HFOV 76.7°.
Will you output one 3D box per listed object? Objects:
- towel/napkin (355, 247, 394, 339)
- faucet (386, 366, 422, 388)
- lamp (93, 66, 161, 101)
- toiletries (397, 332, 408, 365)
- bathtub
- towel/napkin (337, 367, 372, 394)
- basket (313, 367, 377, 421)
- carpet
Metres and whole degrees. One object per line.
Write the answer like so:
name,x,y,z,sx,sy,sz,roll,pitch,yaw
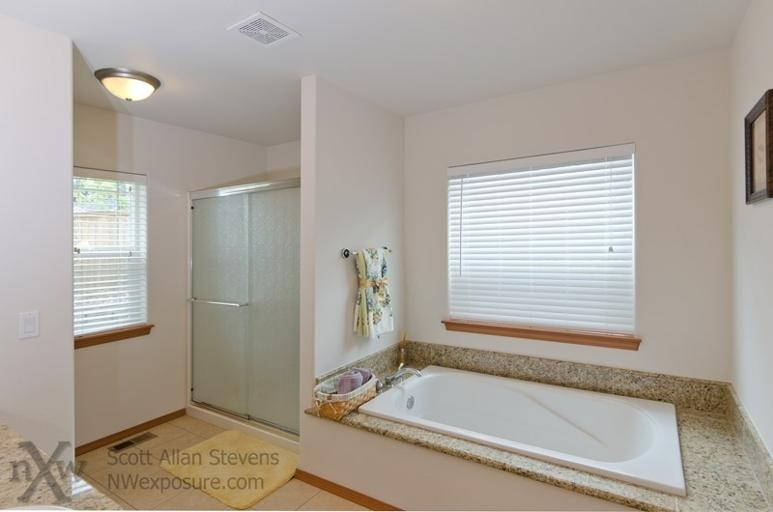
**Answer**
towel/napkin,-0.103,0.299,4.122,0.171,0.718,0.388,0,3,41
faucet,0.129,1.026,4.144,0.368,0.137,0.123,-2,-5,33
lamp,-1.947,-1.305,3.713,0.448,0.142,0.256,-3,2,-32
toiletries,0.152,0.858,4.517,0.070,0.288,0.115,-2,2,11
bathtub,1.074,1.269,3.581,1.885,0.508,0.838,-1,2,29
towel/napkin,-0.257,0.973,3.850,0.201,0.086,0.203,-10,2,19
basket,-0.325,1.066,3.782,0.287,0.175,0.464,-4,-4,31
carpet,-1.242,1.729,3.983,1.004,0.207,0.691,-1,2,34
